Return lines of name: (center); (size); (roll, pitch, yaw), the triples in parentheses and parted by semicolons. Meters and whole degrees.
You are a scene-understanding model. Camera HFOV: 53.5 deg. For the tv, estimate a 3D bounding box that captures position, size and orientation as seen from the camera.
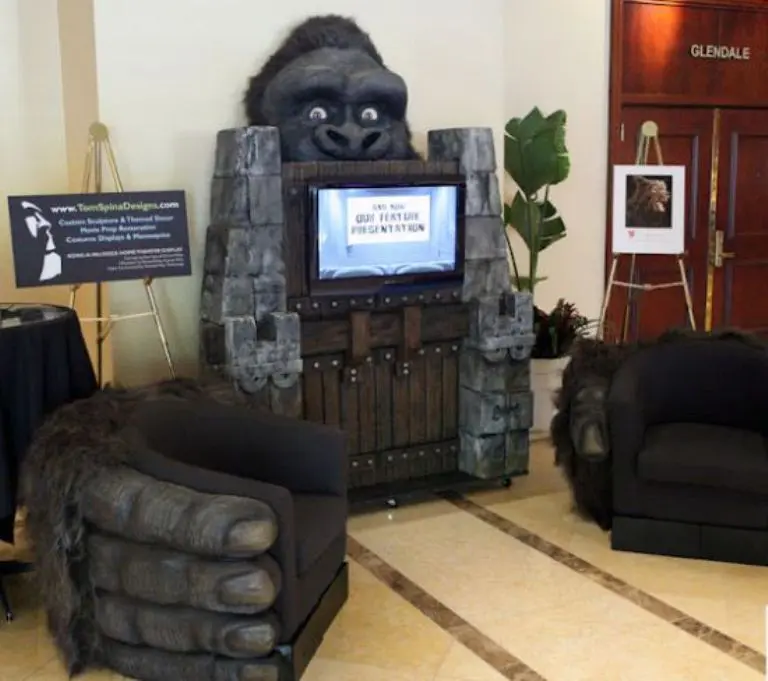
tv: (0.026, -0.488, 3.584); (0.787, 0.506, 0.028); (-6, 12, -24)
